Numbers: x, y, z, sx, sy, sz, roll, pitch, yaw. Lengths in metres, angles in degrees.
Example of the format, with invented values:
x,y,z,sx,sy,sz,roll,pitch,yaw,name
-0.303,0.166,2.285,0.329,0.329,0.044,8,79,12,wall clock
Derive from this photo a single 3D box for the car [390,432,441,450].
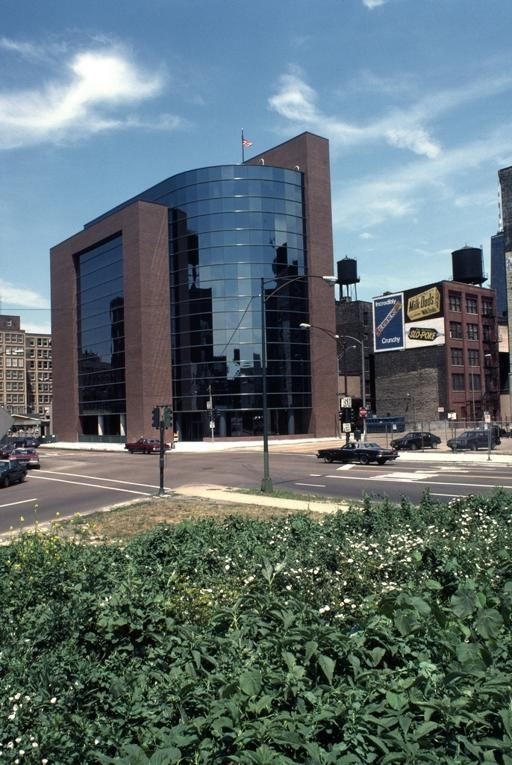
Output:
x,y,z,sx,sy,sz,roll,pitch,yaw,name
11.084,4.098,47.677,3.260,0.983,1.444,2,-6,-32,car

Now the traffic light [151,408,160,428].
x,y,z,sx,sy,sz,roll,pitch,yaw,name
-3.364,1.159,23.326,0.163,0.505,1.182,-3,-1,-13,traffic light

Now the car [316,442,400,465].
x,y,z,sx,sy,sz,roll,pitch,yaw,name
5.216,3.574,34.834,3.269,0.899,1.415,0,-3,41,car
